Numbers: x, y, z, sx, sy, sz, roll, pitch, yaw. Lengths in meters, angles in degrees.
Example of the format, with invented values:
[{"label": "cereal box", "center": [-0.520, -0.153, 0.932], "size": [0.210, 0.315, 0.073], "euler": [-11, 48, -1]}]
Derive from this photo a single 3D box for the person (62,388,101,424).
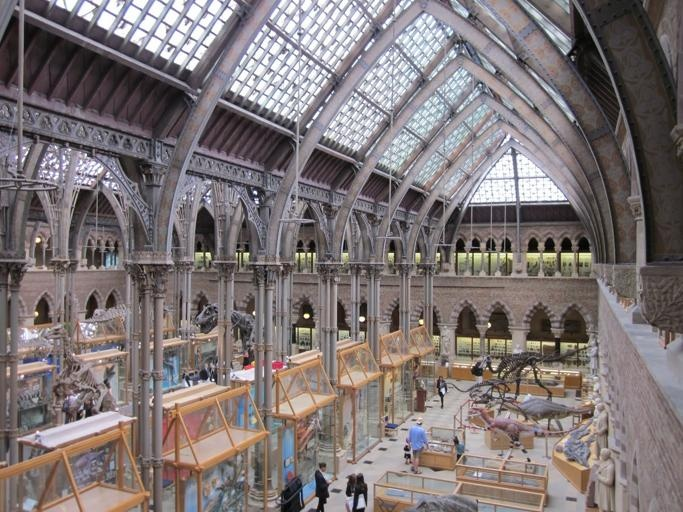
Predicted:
[{"label": "person", "center": [-10.898, 6.113, 22.394], "size": [0.914, 1.337, 1.394], "euler": [-7, -9, 38]}]
